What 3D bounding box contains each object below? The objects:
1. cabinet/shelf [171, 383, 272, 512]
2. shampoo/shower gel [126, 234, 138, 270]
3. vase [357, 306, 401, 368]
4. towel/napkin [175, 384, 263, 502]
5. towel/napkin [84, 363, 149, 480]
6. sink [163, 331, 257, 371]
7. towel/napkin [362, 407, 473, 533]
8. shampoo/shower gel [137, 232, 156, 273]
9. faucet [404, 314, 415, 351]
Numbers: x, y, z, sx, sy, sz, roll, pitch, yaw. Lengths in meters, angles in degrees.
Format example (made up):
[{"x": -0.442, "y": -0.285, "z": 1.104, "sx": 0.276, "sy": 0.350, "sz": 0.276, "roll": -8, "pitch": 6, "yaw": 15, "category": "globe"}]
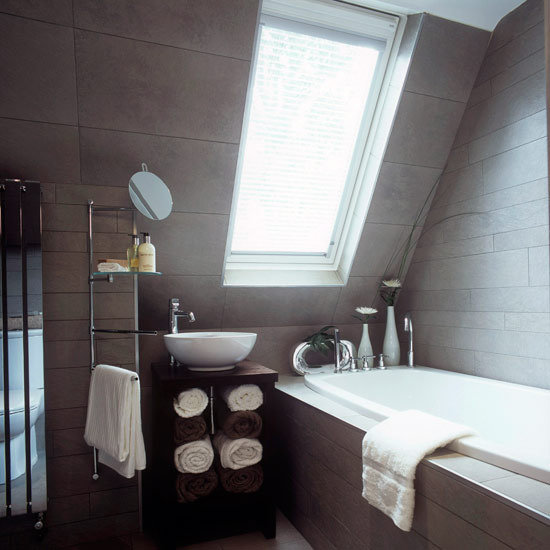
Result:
[{"x": -0.235, "y": 0.764, "z": 2.217, "sx": 0.412, "sy": 0.509, "sz": 0.206, "roll": -1, "pitch": -7, "yaw": -6, "category": "cabinet/shelf"}, {"x": -0.676, "y": -0.112, "z": 2.319, "sx": 0.049, "sy": 0.167, "sz": 0.158, "roll": -1, "pitch": 5, "yaw": -17, "category": "shampoo/shower gel"}, {"x": 0.681, "y": 0.401, "z": 3.213, "sx": 0.296, "sy": 0.499, "sz": 0.188, "roll": 1, "pitch": -8, "yaw": -7, "category": "vase"}, {"x": -0.258, "y": 0.778, "z": 2.312, "sx": 0.411, "sy": 0.508, "sz": 0.203, "roll": -1, "pitch": -2, "yaw": -8, "category": "towel/napkin"}, {"x": -0.691, "y": 0.619, "z": 2.129, "sx": 0.187, "sy": 0.449, "sz": 0.410, "roll": -3, "pitch": 6, "yaw": -36, "category": "towel/napkin"}, {"x": -0.301, "y": 0.368, "z": 2.289, "sx": 0.422, "sy": 0.189, "sz": 0.192, "roll": 0, "pitch": 5, "yaw": -13, "category": "sink"}, {"x": 0.484, "y": 0.683, "z": 1.733, "sx": 0.291, "sy": 0.332, "sz": 0.277, "roll": -2, "pitch": 5, "yaw": -30, "category": "towel/napkin"}, {"x": -0.600, "y": -0.100, "z": 2.290, "sx": 0.079, "sy": 0.187, "sz": 0.086, "roll": -4, "pitch": -6, "yaw": 21, "category": "shampoo/shower gel"}, {"x": 0.860, "y": 0.366, "z": 3.154, "sx": 0.064, "sy": 0.238, "sz": 0.218, "roll": 2, "pitch": 5, "yaw": 15, "category": "faucet"}]
